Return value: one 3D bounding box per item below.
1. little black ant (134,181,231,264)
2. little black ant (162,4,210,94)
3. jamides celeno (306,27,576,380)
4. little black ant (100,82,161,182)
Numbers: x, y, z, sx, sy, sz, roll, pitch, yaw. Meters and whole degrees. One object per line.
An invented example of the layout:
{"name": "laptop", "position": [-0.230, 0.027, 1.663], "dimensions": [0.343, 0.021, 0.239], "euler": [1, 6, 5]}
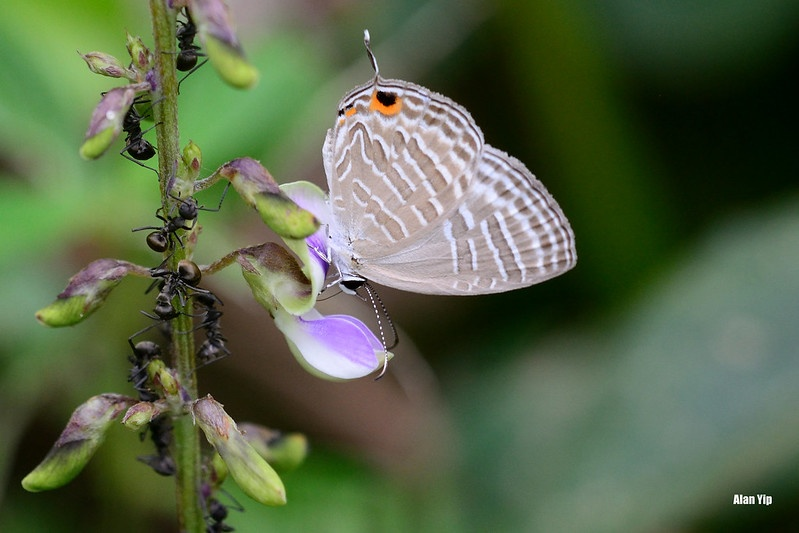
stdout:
{"name": "little black ant", "position": [-0.740, -0.134, 2.395], "dimensions": [0.172, 0.184, 0.107], "euler": [-26, 25, -29]}
{"name": "little black ant", "position": [-0.731, -0.740, 2.487], "dimensions": [0.126, 0.257, 0.604], "euler": [-17, 22, -10]}
{"name": "jamides celeno", "position": [0.136, -0.344, 3.311], "dimensions": [1.123, 1.300, 1.366], "euler": [3, 22, 12]}
{"name": "little black ant", "position": [-0.876, -0.434, 2.493], "dimensions": [0.183, 0.441, 0.148], "euler": [-19, 27, -40]}
